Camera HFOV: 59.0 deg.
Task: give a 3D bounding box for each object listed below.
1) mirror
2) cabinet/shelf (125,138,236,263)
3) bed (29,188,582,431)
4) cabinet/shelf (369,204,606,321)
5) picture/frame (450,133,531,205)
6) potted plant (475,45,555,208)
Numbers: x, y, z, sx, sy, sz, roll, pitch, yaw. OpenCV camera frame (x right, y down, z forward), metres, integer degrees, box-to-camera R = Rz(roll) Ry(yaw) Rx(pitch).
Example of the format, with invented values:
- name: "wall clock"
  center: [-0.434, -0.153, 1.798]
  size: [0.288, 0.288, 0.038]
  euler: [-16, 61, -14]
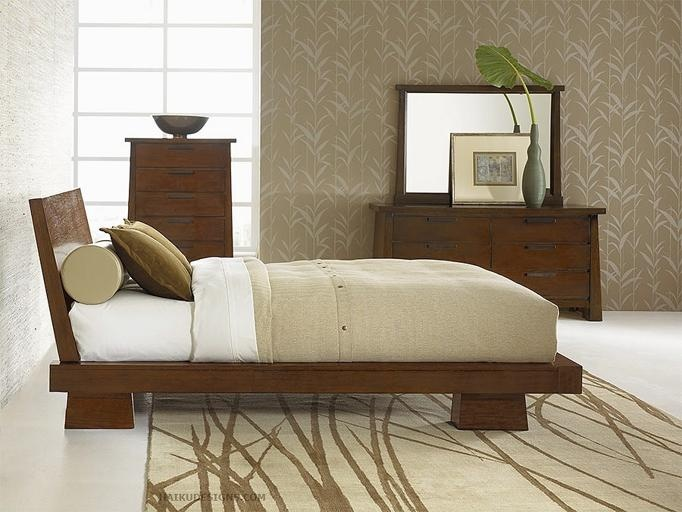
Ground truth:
- name: "mirror"
  center: [1.148, -0.961, 4.986]
  size: [1.083, 0.776, 0.079]
  euler: [0, -1, -1]
- name: "cabinet/shelf"
  center: [-1.249, -0.446, 4.669]
  size: [0.805, 1.053, 0.553]
  euler: [-1, 22, -18]
- name: "bed"
  center: [-0.234, 0.218, 2.820]
  size: [1.828, 0.807, 1.134]
  euler: [0, 3, -4]
- name: "cabinet/shelf"
  center: [1.108, 0.043, 4.832]
  size: [1.769, 0.857, 0.711]
  euler: [1, -2, -2]
- name: "picture/frame"
  center: [1.218, -0.690, 4.916]
  size: [0.643, 0.514, 0.050]
  euler: [0, -5, 0]
- name: "potted plant"
  center: [1.393, -1.064, 4.905]
  size: [0.595, 1.272, 0.635]
  euler: [5, 10, 23]
